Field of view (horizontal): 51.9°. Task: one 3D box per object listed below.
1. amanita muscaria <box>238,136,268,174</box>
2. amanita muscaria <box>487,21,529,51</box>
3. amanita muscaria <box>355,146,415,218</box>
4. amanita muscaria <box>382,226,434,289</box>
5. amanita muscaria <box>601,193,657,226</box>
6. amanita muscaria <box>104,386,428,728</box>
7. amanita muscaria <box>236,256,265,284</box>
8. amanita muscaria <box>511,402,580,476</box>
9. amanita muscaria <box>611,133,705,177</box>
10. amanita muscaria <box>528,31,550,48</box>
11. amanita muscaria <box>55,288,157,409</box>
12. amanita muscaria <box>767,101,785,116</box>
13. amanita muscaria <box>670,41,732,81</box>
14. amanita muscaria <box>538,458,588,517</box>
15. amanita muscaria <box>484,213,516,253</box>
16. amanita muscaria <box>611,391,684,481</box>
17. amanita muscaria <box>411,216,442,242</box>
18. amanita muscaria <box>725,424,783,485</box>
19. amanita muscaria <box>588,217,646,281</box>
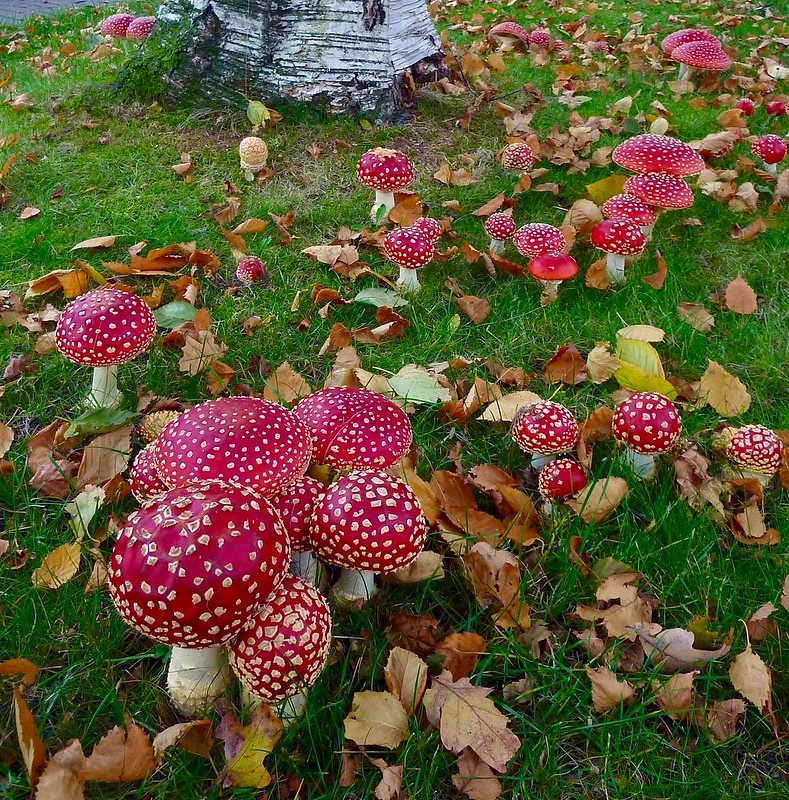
[{"bbox_3d":[-0.854,-1.492,4.973,0.170,0.203,0.208,-1,49,-3],"label":"amanita muscaria"},{"bbox_3d":[1.010,-3.299,7.357,0.318,0.247,0.322,-6,28,-39],"label":"amanita muscaria"},{"bbox_3d":[-0.105,-1.187,4.535,0.337,0.463,0.360,-4,26,-21],"label":"amanita muscaria"},{"bbox_3d":[0.086,-0.701,4.100,0.267,0.337,0.212,-30,50,-32],"label":"amanita muscaria"},{"bbox_3d":[1.233,-0.966,4.276,0.196,0.116,0.205,-3,39,-37],"label":"amanita muscaria"},{"bbox_3d":[-0.371,0.427,2.642,0.901,0.542,1.045,8,50,4],"label":"amanita muscaria"},{"bbox_3d":[-0.756,-0.670,4.180,0.160,0.128,0.121,6,42,2],"label":"amanita muscaria"},{"bbox_3d":[0.549,0.162,3.117,0.181,0.243,0.209,-1,36,-4],"label":"amanita muscaria"},{"bbox_3d":[1.430,-1.331,4.445,0.470,0.160,0.298,18,45,14],"label":"amanita muscaria"},{"bbox_3d":[1.287,-3.267,7.304,0.199,0.088,0.231,9,44,6],"label":"amanita muscaria"},{"bbox_3d":[-1.180,-0.177,3.288,0.326,0.490,0.340,-16,32,-16],"label":"amanita muscaria"},{"bbox_3d":[2.559,-1.964,5.471,0.099,0.085,0.115,5,61,9],"label":"amanita muscaria"},{"bbox_3d":[2.334,-2.556,6.253,0.330,0.199,0.354,-24,69,-16],"label":"amanita muscaria"},{"bbox_3d":[0.605,0.306,2.987,0.170,0.222,0.183,0,7,26],"label":"amanita muscaria"},{"bbox_3d":[0.562,-0.895,4.378,0.144,0.148,0.221,20,69,-9],"label":"amanita muscaria"},{"bbox_3d":[0.956,0.156,3.097,0.167,0.256,0.177,-25,49,-11],"label":"amanita muscaria"},{"bbox_3d":[0.159,-0.871,4.140,0.151,0.132,0.166,19,23,-6],"label":"amanita muscaria"},{"bbox_3d":[1.338,0.215,3.167,0.194,0.244,0.218,-1,24,-7],"label":"amanita muscaria"},{"bbox_3d":[1.108,-0.728,4.143,0.269,0.331,0.314,-6,40,-3],"label":"amanita muscaria"}]
